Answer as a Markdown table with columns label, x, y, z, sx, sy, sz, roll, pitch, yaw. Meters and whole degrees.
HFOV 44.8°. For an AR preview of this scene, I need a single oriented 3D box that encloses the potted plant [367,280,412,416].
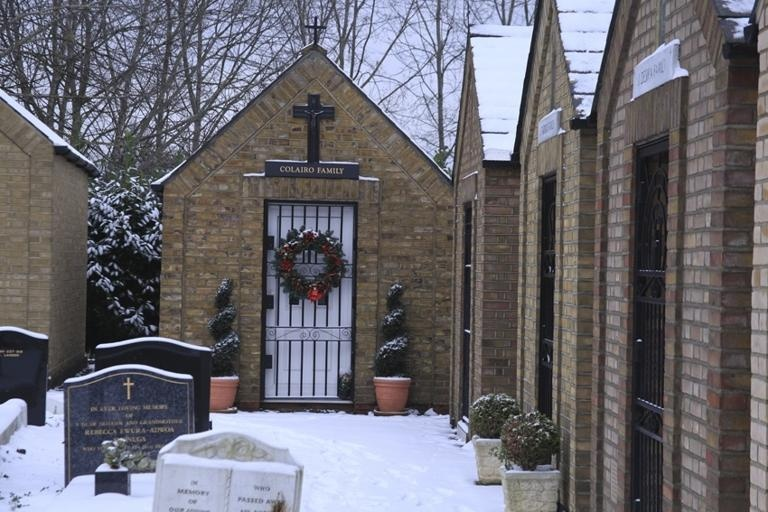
| label | x | y | z | sx | sy | sz | roll | pitch | yaw |
| --- | --- | --- | --- | --- | --- | --- | --- | --- | --- |
| potted plant | 0.149 | 1.670 | 16.928 | 0.639 | 2.334 | 0.676 | 3 | 5 | 0 |

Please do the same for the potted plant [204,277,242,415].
| label | x | y | z | sx | sy | sz | roll | pitch | yaw |
| --- | --- | --- | --- | --- | --- | --- | --- | --- | --- |
| potted plant | -2.876 | 1.569 | 16.659 | 0.588 | 2.313 | 0.663 | 3 | 5 | -9 |
